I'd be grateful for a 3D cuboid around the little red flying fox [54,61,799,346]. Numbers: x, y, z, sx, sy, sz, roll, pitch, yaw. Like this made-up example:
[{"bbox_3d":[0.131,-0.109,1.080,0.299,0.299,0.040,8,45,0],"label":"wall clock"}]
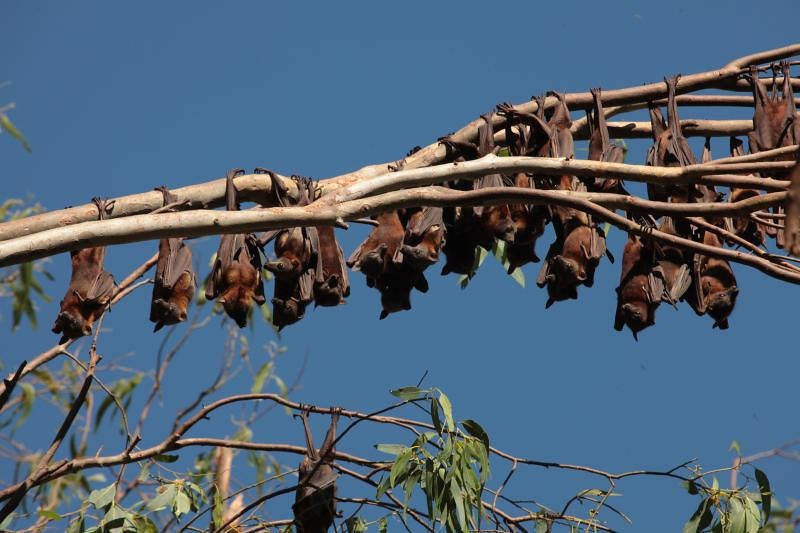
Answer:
[{"bbox_3d":[-0.359,-0.485,12.076,6.527,1.451,2.193,-6,-23,-1],"label":"little red flying fox"}]
